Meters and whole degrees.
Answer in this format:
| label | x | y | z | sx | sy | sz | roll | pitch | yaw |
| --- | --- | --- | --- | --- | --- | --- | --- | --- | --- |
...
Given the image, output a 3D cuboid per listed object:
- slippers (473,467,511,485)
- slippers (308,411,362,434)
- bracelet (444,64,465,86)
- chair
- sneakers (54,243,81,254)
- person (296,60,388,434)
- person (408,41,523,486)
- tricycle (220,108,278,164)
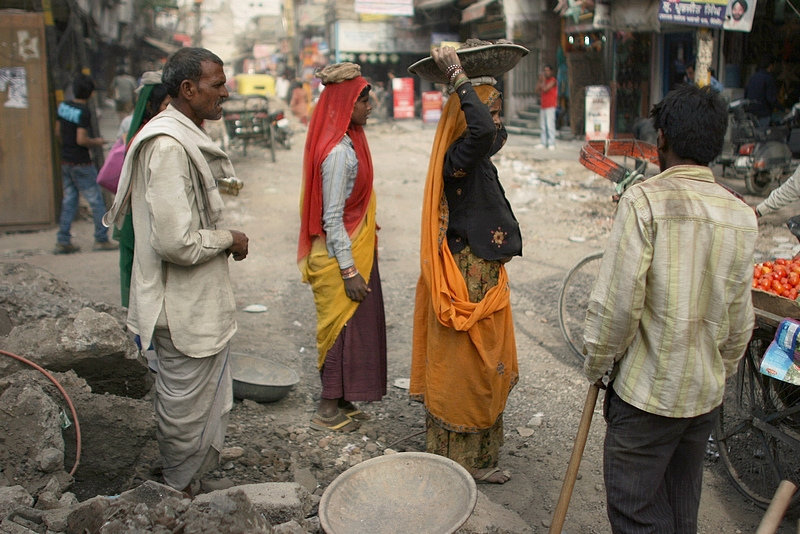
| label | x | y | z | sx | sy | sz | roll | pitch | yaw |
| --- | --- | --- | --- | --- | --- | --- | --- | --- | --- |
| slippers | 0.715 | 1.616 | 7.268 | 0.155 | 0.050 | 0.159 | 16 | 29 | 36 |
| slippers | -0.538 | 1.273 | 7.738 | 0.302 | 0.127 | 0.179 | 3 | -3 | -17 |
| bracelet | 0.397 | -1.410 | 6.878 | 0.113 | 0.136 | 0.142 | -12 | -9 | -2 |
| chair | -3.006 | -2.840 | 19.512 | 1.916 | 1.516 | 1.188 | -1 | 13 | -1 |
| sneakers | -4.083 | -0.221 | 11.554 | 0.350 | 0.156 | 0.119 | -6 | 16 | -21 |
| person | -0.482 | -0.263 | 7.581 | 0.694 | 2.671 | 0.550 | -2 | 14 | -6 |
| person | 0.493 | 0.007 | 7.123 | 0.839 | 3.273 | 0.639 | 2 | 14 | 6 |
| tricycle | -3.025 | -2.785 | 18.883 | 1.383 | 1.396 | 1.061 | -2 | 23 | -8 |
